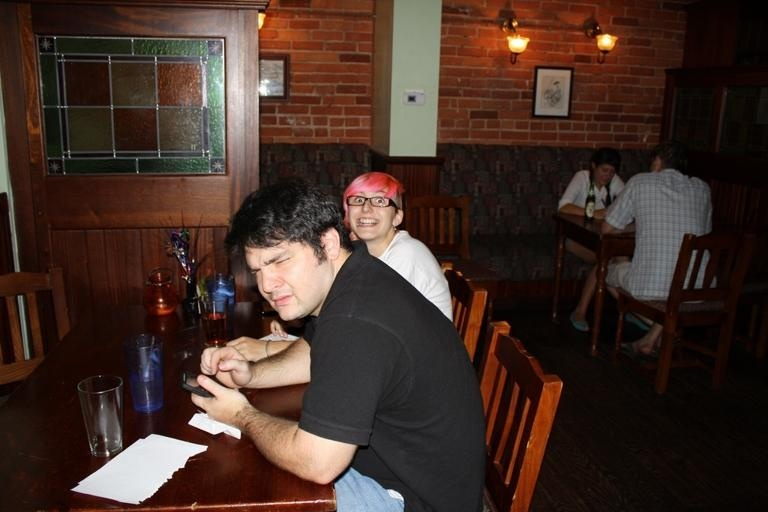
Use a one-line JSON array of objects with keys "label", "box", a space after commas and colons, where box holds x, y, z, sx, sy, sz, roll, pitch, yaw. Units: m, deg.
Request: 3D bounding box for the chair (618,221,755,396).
[{"label": "chair", "box": [2.181, 0.320, 3.801, 0.954, 1.087, 0.598, -9, 16, -23]}]

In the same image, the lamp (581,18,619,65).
[{"label": "lamp", "box": [2.447, -2.402, 6.052, 0.429, 0.488, 0.263, -9, 16, -25]}]

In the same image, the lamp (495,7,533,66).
[{"label": "lamp", "box": [1.407, -2.388, 5.892, 0.357, 0.619, 0.215, -1, 15, 7]}]

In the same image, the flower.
[{"label": "flower", "box": [-1.042, -0.050, 2.909, 0.379, 0.465, 0.350, 1, 9, -10]}]

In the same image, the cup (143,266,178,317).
[{"label": "cup", "box": [-0.998, 0.166, 2.543, 0.143, 0.207, 0.197, 0, 3, -5]}]

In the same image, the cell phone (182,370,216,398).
[{"label": "cell phone", "box": [-0.646, 0.448, 1.895, 0.136, 0.018, 0.076, 41, 21, 4]}]

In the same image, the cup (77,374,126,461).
[{"label": "cup", "box": [-0.887, 0.497, 1.701, 0.143, 0.212, 0.161, -7, 15, -15]}]

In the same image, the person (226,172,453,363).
[{"label": "person", "box": [-0.174, -0.025, 2.646, 1.012, 0.870, 0.644, 8, 0, -34]}]

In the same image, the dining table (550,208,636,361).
[{"label": "dining table", "box": [1.695, 0.241, 4.388, 0.675, 0.903, 0.912, -4, 20, -10]}]

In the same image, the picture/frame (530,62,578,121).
[{"label": "picture/frame", "box": [1.879, -1.859, 6.105, 0.576, 0.758, 0.055, 1, 11, -11]}]
